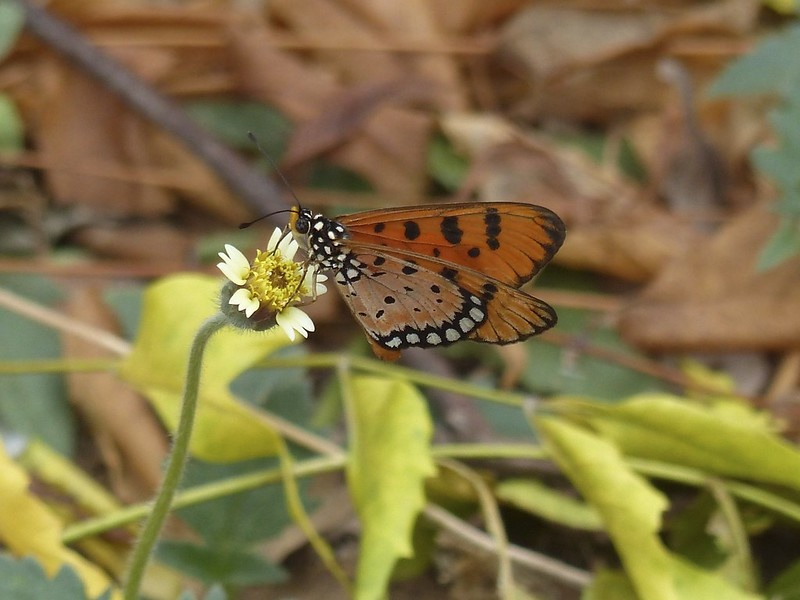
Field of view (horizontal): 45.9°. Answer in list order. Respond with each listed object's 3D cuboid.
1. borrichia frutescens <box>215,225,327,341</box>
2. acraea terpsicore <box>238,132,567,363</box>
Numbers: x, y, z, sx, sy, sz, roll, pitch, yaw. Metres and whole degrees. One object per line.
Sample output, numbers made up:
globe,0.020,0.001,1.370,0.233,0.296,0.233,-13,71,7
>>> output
borrichia frutescens,-0.202,-0.002,1.457,0.174,0.084,0.183,43,49,-16
acraea terpsicore,0.073,-0.056,1.661,0.660,0.254,0.384,17,93,-2
